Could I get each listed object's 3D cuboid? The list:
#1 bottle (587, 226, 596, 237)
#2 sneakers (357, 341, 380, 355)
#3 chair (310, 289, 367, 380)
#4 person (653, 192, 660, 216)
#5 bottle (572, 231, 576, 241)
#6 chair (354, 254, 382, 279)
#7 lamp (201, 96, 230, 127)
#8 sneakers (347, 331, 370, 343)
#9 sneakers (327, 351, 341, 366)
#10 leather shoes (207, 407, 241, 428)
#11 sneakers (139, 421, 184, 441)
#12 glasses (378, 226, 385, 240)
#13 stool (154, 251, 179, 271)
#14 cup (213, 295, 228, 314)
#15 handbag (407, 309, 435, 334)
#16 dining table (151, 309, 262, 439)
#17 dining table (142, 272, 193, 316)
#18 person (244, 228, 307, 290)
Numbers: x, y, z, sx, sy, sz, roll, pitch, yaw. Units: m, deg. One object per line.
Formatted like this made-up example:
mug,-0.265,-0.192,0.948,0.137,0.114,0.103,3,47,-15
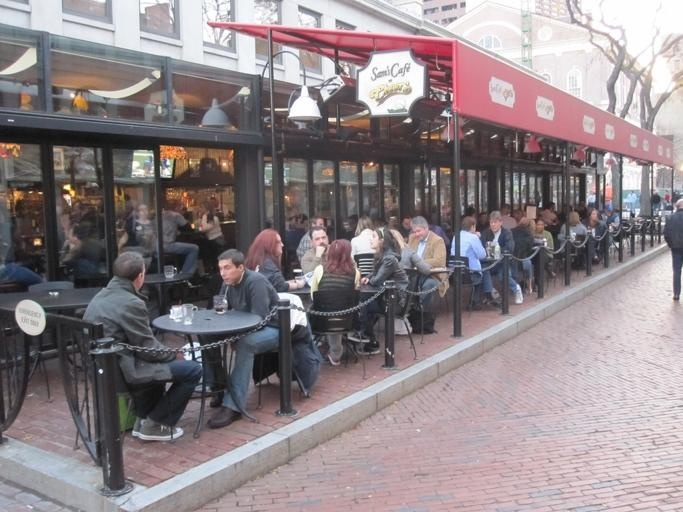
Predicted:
bottle,6.363,-0.618,17.048,0.221,0.321,0.124,8,-7,13
sneakers,0.401,1.275,9.297,0.395,0.176,0.145,4,-6,-23
chair,-0.085,0.859,8.766,0.838,1.341,0.951,-2,15,-3
person,17.446,-2.864,37.080,0.364,1.287,2.610,7,13,24
bottle,5.621,-0.480,16.200,0.077,0.253,0.182,5,-2,0
chair,0.433,0.145,10.484,0.417,0.562,0.310,6,11,44
lamp,-2.123,-2.421,11.187,0.443,0.450,0.455,9,14,37
sneakers,0.237,1.117,9.184,0.225,0.104,0.280,-1,-5,41
sneakers,-0.099,1.354,8.855,0.159,0.127,0.144,-1,0,7
leather shoes,-1.215,1.674,6.980,0.160,0.138,0.333,-3,-5,36
sneakers,-1.774,1.700,6.701,0.445,0.291,0.183,0,2,-9
glasses,0.590,-0.345,9.698,0.098,0.134,0.113,-10,0,-13
stool,-3.050,0.077,11.928,0.255,0.290,0.438,0,2,32
cup,-1.324,0.527,7.355,0.172,0.201,0.172,-1,4,0
handbag,1.252,0.966,10.380,0.367,0.535,0.382,-1,1,25
dining table,-1.459,1.169,6.999,0.951,0.714,0.964,-3,7,-17
dining table,-2.713,0.590,10.256,0.684,0.775,0.673,-9,17,-42
person,-0.844,0.028,8.368,0.759,0.698,0.558,4,15,-8
